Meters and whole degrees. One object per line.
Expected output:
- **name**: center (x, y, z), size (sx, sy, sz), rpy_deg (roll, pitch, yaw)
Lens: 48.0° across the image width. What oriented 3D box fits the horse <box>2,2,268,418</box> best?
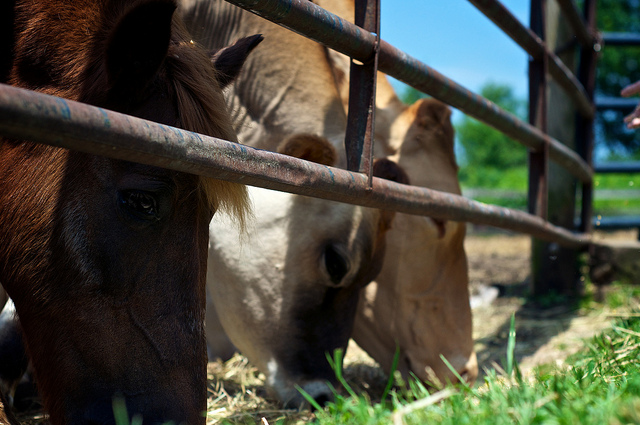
- **horse**: center (-0.722, 0.013, 2.675), size (0.422, 1.750, 0.812), rpy_deg (-6, -19, -42)
